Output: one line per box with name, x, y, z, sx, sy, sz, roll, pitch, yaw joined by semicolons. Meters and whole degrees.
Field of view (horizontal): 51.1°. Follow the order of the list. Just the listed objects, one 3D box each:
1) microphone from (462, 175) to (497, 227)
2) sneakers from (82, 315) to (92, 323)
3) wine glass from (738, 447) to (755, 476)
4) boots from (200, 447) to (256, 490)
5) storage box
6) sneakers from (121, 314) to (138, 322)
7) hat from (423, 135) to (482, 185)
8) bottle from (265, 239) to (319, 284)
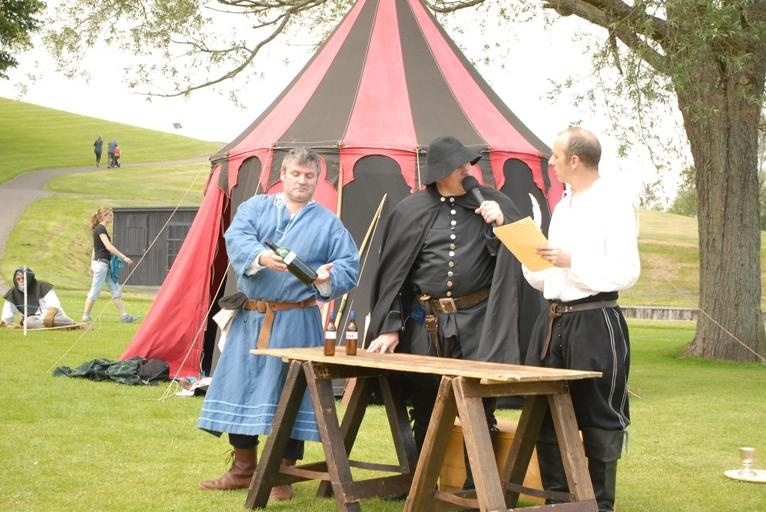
microphone;0.759;-0.482;6.468;0.151;0.558;0.157;2;-41;-23
sneakers;-5.077;1.095;13.796;0.122;0.153;0.225;2;3;-31
wine glass;3.280;1.827;7.181;0.139;0.269;0.340;5;8;25
boots;-1.309;1.809;6.761;0.557;0.353;0.203;13;-8;-42
storage box;0.991;1.676;6.630;1.048;0.896;0.745;0;-10;9
sneakers;-4.575;1.147;14.554;0.121;0.137;0.341;5;3;36
hat;0.504;-0.794;6.625;0.436;0.252;0.396;-29;10;30
bottle;-0.767;0.061;6.540;0.451;0.351;0.247;8;10;41
